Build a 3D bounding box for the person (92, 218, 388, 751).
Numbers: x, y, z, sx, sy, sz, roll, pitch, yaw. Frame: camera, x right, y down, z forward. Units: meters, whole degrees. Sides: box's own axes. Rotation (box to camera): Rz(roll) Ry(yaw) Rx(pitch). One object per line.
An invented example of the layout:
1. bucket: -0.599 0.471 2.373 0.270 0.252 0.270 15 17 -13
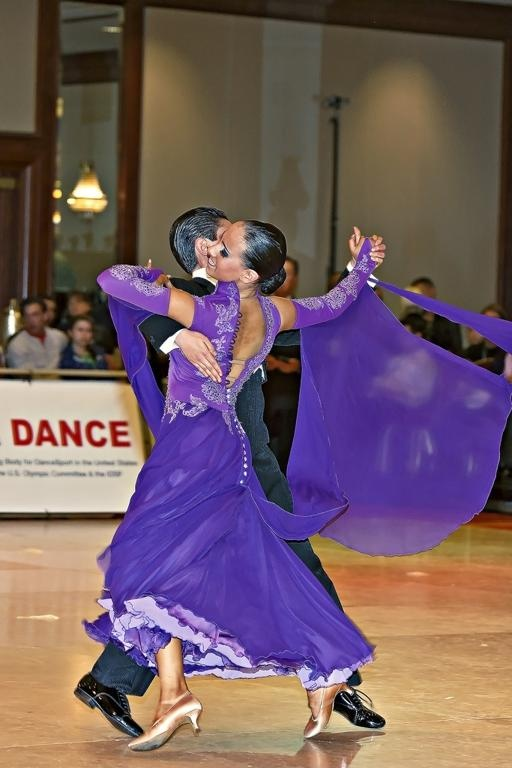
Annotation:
1. person: -0.055 0.246 1.891 0.685 1.240 0.384 3 -2 -11
